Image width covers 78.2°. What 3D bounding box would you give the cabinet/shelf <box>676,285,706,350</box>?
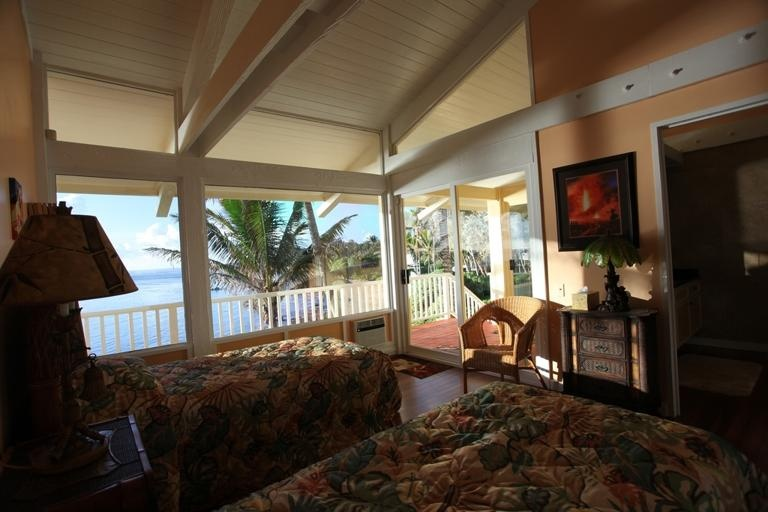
[{"bbox_3d":[3.757,0.722,5.782,0.338,0.741,0.892,-3,0,38],"label":"cabinet/shelf"}]

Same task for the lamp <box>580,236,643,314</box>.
[{"bbox_3d":[2.212,0.186,4.566,0.542,0.632,0.527,0,-2,-39],"label":"lamp"}]

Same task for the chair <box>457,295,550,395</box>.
[{"bbox_3d":[1.293,0.970,5.063,0.782,0.958,0.785,-2,2,36],"label":"chair"}]

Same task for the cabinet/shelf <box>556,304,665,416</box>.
[{"bbox_3d":[2.198,0.978,4.629,0.497,0.904,0.831,-2,1,-44],"label":"cabinet/shelf"}]

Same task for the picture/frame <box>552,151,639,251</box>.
[{"bbox_3d":[2.150,-0.547,4.711,1.009,1.157,0.081,-4,-3,40],"label":"picture/frame"}]
